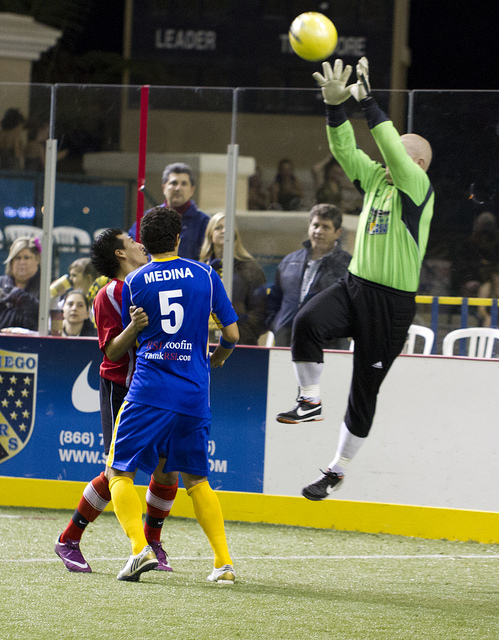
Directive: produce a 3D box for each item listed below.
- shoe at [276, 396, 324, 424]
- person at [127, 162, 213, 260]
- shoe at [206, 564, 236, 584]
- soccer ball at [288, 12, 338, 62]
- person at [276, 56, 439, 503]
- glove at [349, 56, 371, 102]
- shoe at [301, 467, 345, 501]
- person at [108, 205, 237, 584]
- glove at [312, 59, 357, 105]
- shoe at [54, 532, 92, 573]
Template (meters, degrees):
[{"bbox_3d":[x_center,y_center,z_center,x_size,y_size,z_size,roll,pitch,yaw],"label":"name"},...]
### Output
[{"bbox_3d":[0.280,0.533,8.122,0.343,0.160,0.116,4,-6,-40],"label":"shoe"},{"bbox_3d":[-0.487,-0.507,9.294,0.629,1.021,0.243,-1,-5,7],"label":"person"},{"bbox_3d":[-0.153,1.353,7.461,0.144,0.135,0.149,1,8,-3],"label":"shoe"},{"bbox_3d":[0.360,-1.617,7.999,0.257,0.275,0.244,2,8,0],"label":"soccer ball"},{"bbox_3d":[0.641,-0.215,8.339,0.897,2.604,1.121,3,8,7],"label":"person"},{"bbox_3d":[0.604,-1.360,7.936,0.086,0.228,0.166,13,10,24],"label":"glove"},{"bbox_3d":[0.423,0.986,8.235,0.154,0.204,0.289,7,9,35],"label":"shoe"},{"bbox_3d":[-0.392,0.416,7.316,0.686,1.982,0.387,0,8,-11],"label":"person"},{"bbox_3d":[0.493,-1.363,7.988,0.257,0.069,0.257,9,-27,8],"label":"glove"},{"bbox_3d":[-0.977,1.298,7.722,0.276,0.118,0.103,41,29,19],"label":"shoe"}]
